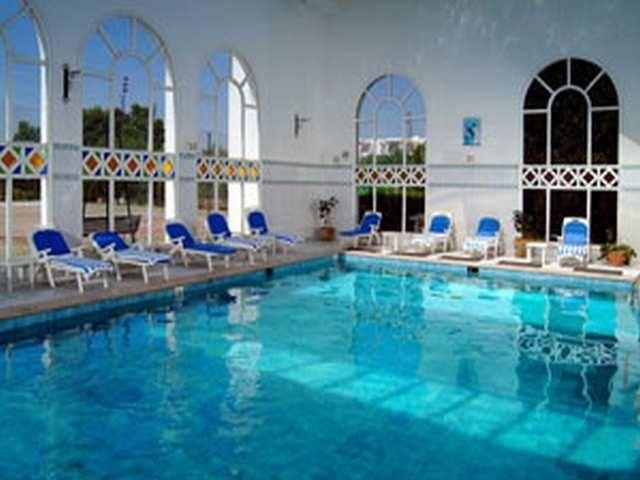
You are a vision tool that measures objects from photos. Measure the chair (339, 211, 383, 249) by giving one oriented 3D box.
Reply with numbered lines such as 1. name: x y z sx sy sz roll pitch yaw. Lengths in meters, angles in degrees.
1. chair: 1.369 -0.191 15.410 0.761 0.977 1.090 8 -7 2

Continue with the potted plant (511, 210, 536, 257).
1. potted plant: 5.676 -0.202 13.965 0.596 1.197 0.827 4 11 21

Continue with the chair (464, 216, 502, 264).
1. chair: 4.450 -0.027 13.592 0.716 1.151 1.130 3 9 42

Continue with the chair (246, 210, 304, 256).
1. chair: -1.341 -0.235 13.779 1.434 1.333 0.939 5 8 19

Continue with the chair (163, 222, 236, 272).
1. chair: -2.775 0.129 11.588 1.863 1.241 0.935 6 9 32

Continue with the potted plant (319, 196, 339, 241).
1. potted plant: 0.234 -0.724 16.607 0.648 1.456 0.692 0 11 1

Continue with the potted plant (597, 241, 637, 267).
1. potted plant: 7.352 0.350 12.235 0.613 0.452 0.646 -1 0 17

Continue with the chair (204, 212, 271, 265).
1. chair: -2.063 -0.091 12.905 1.699 1.624 1.114 4 5 23

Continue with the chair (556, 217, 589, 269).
1. chair: 6.202 0.038 12.213 0.659 1.130 0.618 5 12 26

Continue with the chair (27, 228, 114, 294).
1. chair: -4.745 0.322 9.404 1.429 0.977 0.919 9 9 22

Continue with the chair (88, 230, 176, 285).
1. chair: -3.889 0.251 10.201 1.784 0.959 1.000 9 10 31

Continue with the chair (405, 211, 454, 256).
1. chair: 3.569 -0.208 14.419 0.768 0.868 1.182 13 13 -10
